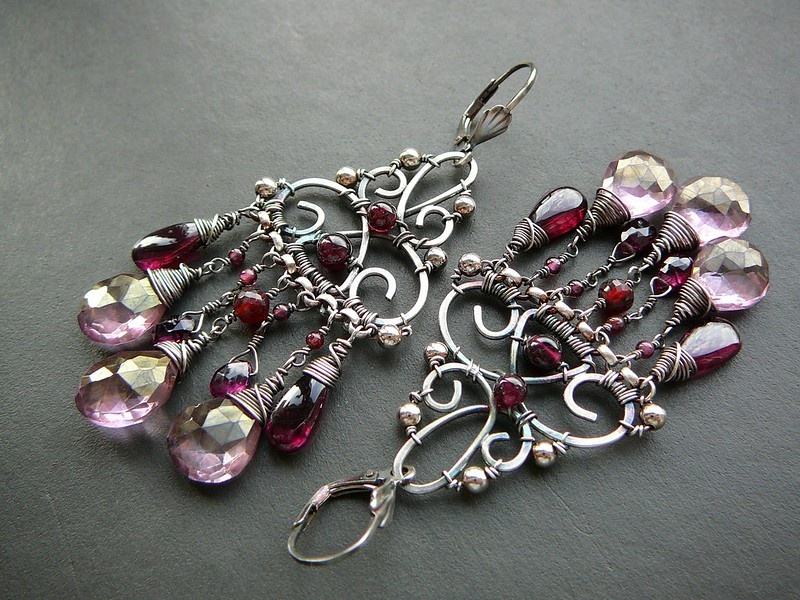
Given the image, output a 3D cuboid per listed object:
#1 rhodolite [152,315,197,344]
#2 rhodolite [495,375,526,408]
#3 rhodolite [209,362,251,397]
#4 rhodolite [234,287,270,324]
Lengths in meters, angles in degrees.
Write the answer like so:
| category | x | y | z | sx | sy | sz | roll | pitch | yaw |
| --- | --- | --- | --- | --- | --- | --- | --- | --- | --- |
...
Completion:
| category | x | y | z | sx | sy | sz | roll | pitch | yaw |
| --- | --- | --- | --- | --- | --- | --- | --- | --- | --- |
| rhodolite | -0.752 | 0.100 | 2.580 | 0.104 | 0.038 | 0.092 | -32 | 40 | -26 |
| rhodolite | 0.350 | 0.297 | 2.458 | 0.097 | 0.098 | 0.077 | -7 | 40 | -18 |
| rhodolite | -0.537 | 0.269 | 2.512 | 0.145 | 0.096 | 0.121 | -9 | 41 | -20 |
| rhodolite | -0.498 | 0.036 | 2.646 | 0.123 | 0.121 | 0.090 | -7 | 80 | -20 |
